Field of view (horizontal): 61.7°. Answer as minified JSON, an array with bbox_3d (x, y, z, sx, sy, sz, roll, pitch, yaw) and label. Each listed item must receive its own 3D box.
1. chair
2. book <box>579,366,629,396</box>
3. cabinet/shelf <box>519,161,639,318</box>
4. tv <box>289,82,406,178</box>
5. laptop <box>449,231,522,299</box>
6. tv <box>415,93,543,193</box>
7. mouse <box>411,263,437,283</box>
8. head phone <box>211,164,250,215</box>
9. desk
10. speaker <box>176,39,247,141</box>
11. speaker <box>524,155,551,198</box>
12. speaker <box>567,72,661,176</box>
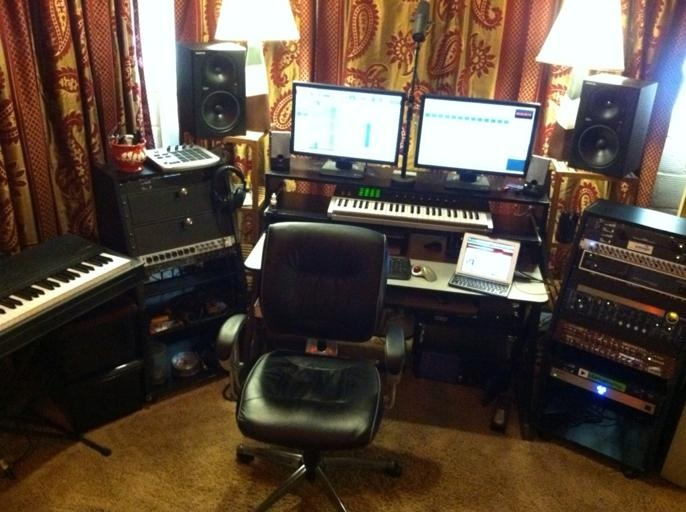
[{"bbox_3d":[-0.142,0.570,2.782,0.920,1.328,0.712,5,22,6],"label":"chair"},{"bbox_3d":[1.427,0.671,3.110,0.166,0.042,0.024,21,32,26],"label":"book"},{"bbox_3d":[1.345,-0.103,3.252,0.505,1.055,0.570,15,33,23],"label":"cabinet/shelf"},{"bbox_3d":[0.021,-0.757,3.471,0.582,0.453,0.178,6,38,3],"label":"tv"},{"bbox_3d":[0.798,0.046,3.246,0.340,0.258,0.264,10,23,19],"label":"laptop"},{"bbox_3d":[0.803,-0.662,3.395,0.589,0.477,0.183,6,40,6],"label":"tv"},{"bbox_3d":[0.467,0.092,3.304,0.112,0.051,0.096,21,40,32],"label":"mouse"},{"bbox_3d":[-0.668,-0.386,3.367,0.134,0.363,0.272,12,21,36],"label":"head phone"},{"bbox_3d":[0.324,0.219,3.409,1.682,1.258,1.002,8,7,1],"label":"desk"},{"bbox_3d":[-0.760,-0.981,3.405,0.345,0.476,0.360,-5,24,-8],"label":"speaker"},{"bbox_3d":[1.126,-0.493,3.453,0.130,0.206,0.125,2,2,-38],"label":"speaker"},{"bbox_3d":[1.534,-0.731,3.271,0.322,0.481,0.298,18,23,39],"label":"speaker"}]
